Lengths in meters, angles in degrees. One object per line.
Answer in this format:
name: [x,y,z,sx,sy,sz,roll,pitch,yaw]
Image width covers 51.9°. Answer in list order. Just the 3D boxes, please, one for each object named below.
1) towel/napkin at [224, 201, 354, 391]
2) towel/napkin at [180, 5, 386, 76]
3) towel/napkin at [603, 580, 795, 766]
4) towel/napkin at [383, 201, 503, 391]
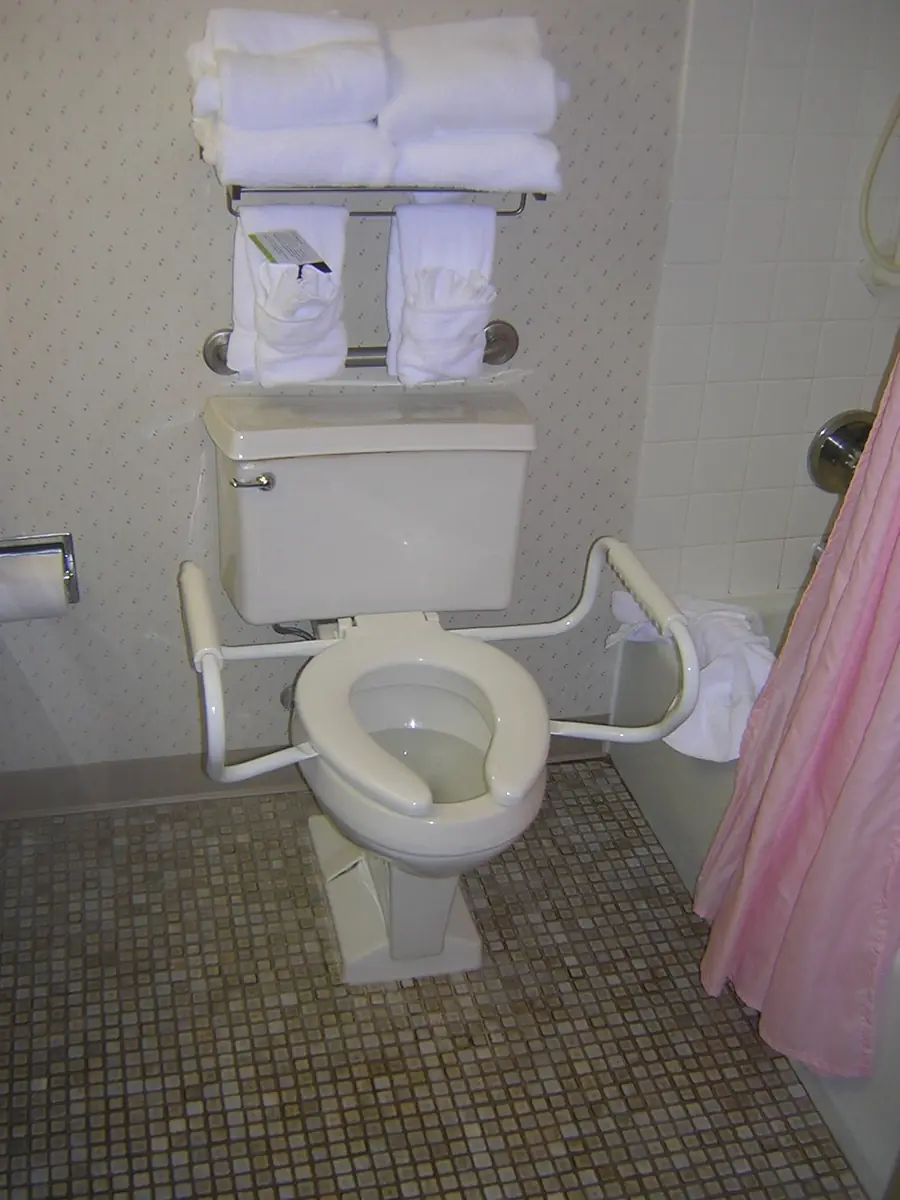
towel/napkin: [-0.227,-0.407,1.242,0.169,0.230,0.165,4,24,-1]
towel/napkin: [-0.198,-0.661,1.091,0.142,0.052,0.142,-7,23,-15]
towel/napkin: [0.400,0.130,1.603,0.283,0.254,0.394,14,26,19]
towel/napkin: [-0.007,-0.403,1.255,0.161,0.229,0.082,-2,14,-7]
